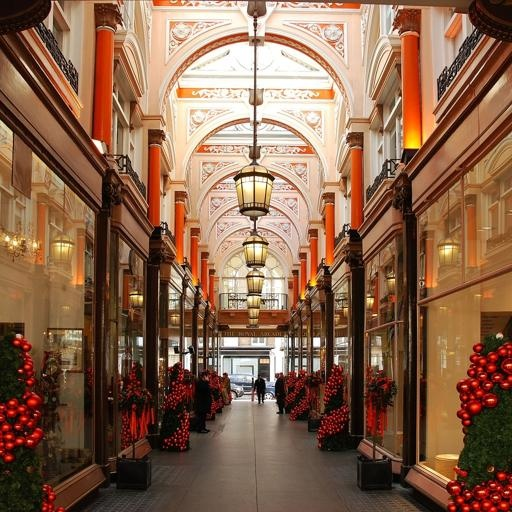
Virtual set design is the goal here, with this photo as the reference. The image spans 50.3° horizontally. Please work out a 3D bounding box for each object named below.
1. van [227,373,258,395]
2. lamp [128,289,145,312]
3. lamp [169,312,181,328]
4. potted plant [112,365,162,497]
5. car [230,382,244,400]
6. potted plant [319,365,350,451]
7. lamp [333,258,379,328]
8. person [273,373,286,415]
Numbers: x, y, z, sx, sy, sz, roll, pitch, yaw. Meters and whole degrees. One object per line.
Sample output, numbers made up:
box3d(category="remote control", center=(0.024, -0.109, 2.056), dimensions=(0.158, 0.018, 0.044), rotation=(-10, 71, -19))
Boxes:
box3d(category="van", center=(-1.128, 11.302, 45.952), dimensions=(2.634, 1.957, 1.811), rotation=(-4, 2, -3))
box3d(category="lamp", center=(-2.485, 0.915, 11.269), dimensions=(0.290, 0.513, 0.316), rotation=(1, -6, -16))
box3d(category="lamp", center=(-2.618, 2.044, 17.437), dimensions=(0.294, 0.568, 0.336), rotation=(-6, -8, 32))
box3d(category="potted plant", center=(-2.109, 2.845, 9.603), dimensions=(0.556, 2.232, 2.977), rotation=(2, -17, -10))
box3d(category="car", center=(-1.503, 10.467, 42.120), dimensions=(1.464, 1.121, 1.024), rotation=(-2, -4, -3))
box3d(category="potted plant", center=(1.915, 3.767, 13.565), dimensions=(0.746, 2.060, 0.563), rotation=(0, -14, -4))
box3d(category="lamp", center=(2.496, 0.637, 13.284), dimensions=(0.950, 2.022, 1.811), rotation=(0, -9, -1))
box3d(category="person", center=(1.188, 6.643, 26.420), dimensions=(0.459, 2.028, 1.486), rotation=(-2, -15, 3))
